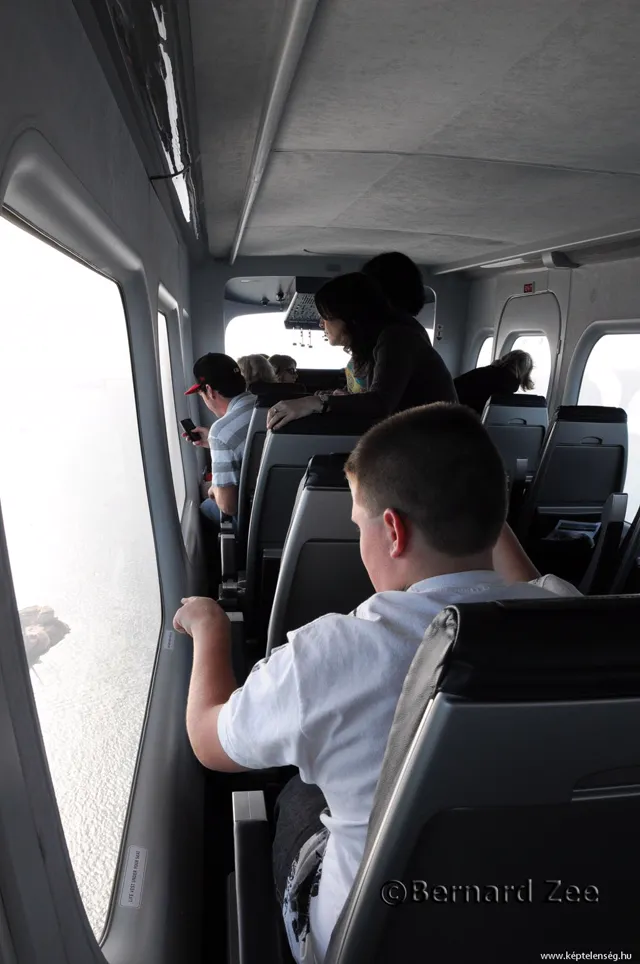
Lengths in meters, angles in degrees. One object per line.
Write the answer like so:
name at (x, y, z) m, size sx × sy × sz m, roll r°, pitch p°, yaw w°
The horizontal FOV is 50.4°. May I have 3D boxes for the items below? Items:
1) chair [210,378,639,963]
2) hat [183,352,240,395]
chair at (0.078, 0.330, 0.989) m, size 0.437 × 0.869 × 0.394 m, roll 9°, pitch 16°, yaw 25°
hat at (-0.654, -0.647, 4.121) m, size 0.299 × 0.189 × 0.204 m, roll 23°, pitch 35°, yaw 32°
